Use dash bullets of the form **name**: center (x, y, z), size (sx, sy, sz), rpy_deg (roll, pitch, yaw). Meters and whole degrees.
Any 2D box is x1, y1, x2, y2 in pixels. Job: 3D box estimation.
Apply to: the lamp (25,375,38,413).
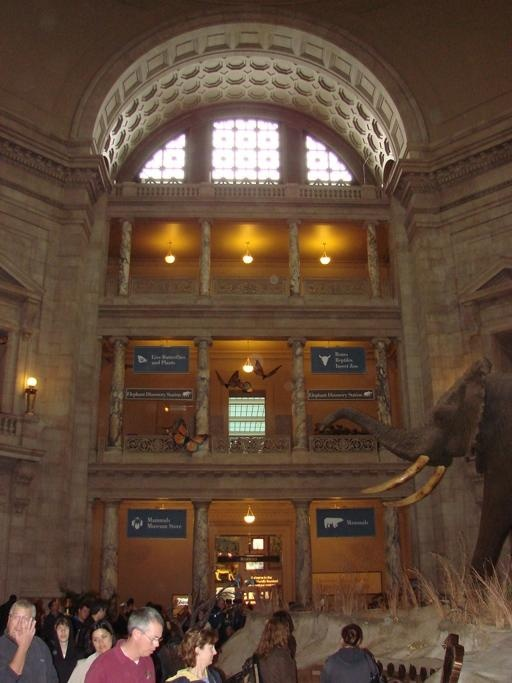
- **lamp**: center (-6.531, 1.579, 16.387), size (0.364, 1.137, 0.771), rpy_deg (7, -20, -21)
